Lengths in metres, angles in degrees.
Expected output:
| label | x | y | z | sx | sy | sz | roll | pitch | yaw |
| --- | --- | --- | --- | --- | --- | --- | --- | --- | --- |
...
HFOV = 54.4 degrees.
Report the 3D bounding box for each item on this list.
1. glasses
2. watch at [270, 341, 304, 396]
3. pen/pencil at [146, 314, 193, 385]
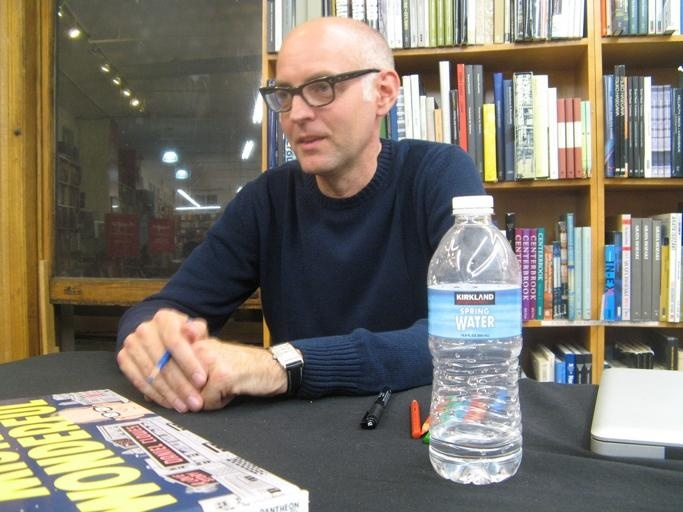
| label | x | y | z | sx | sy | sz | roll | pitch | yaw |
| --- | --- | --- | --- | --- | --- | --- | --- | --- | --- |
| glasses | -0.080 | -0.500 | 2.021 | 0.322 | 0.117 | 0.083 | -1 | 4 | 5 |
| watch | -0.125 | 0.268 | 1.610 | 0.070 | 0.106 | 0.115 | -9 | 17 | -31 |
| pen/pencil | -0.425 | 0.246 | 1.618 | 0.020 | 0.022 | 0.158 | 7 | 34 | 13 |
